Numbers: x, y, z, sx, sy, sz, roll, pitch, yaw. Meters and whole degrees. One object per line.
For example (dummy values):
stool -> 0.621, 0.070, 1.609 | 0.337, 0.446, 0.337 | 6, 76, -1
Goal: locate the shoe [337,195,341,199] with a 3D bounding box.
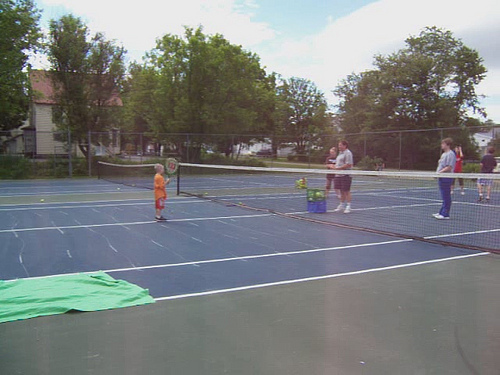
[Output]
shoe -> 3.074, 0.313, 14.861 | 0.154, 0.150, 0.271 | 2, 5, 8

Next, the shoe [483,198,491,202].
shoe -> 8.476, 0.452, 15.308 | 0.145, 0.193, 0.488 | -1, -3, 12

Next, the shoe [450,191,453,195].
shoe -> 7.290, 0.185, 15.538 | 0.122, 0.114, 0.121 | -3, 8, -18

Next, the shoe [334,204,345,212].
shoe -> 2.721, 0.631, 12.906 | 0.362, 0.245, 0.132 | 0, 1, -24

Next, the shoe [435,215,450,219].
shoe -> 5.068, 0.788, 11.273 | 0.310, 0.128, 0.115 | 4, 2, 19

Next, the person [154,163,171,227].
person -> -2.341, 0.091, 11.342 | 0.411, 1.485, 2.367 | -1, 8, -12

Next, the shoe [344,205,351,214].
shoe -> 2.836, 0.620, 12.535 | 0.157, 0.251, 0.389 | 2, 7, 10

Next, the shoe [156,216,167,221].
shoe -> -2.250, 0.800, 10.907 | 0.289, 0.134, 0.099 | 2, 1, -2

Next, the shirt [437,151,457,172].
shirt -> 5.261, -0.689, 11.474 | 0.395, 0.570, 0.504 | 4, 8, 24

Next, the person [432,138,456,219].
person -> 5.283, -0.242, 11.661 | 0.455, 2.147, 1.571 | 4, 8, 24

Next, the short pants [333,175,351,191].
short pants -> 2.749, -0.116, 12.707 | 0.336, 0.465, 0.586 | -5, 7, -31
